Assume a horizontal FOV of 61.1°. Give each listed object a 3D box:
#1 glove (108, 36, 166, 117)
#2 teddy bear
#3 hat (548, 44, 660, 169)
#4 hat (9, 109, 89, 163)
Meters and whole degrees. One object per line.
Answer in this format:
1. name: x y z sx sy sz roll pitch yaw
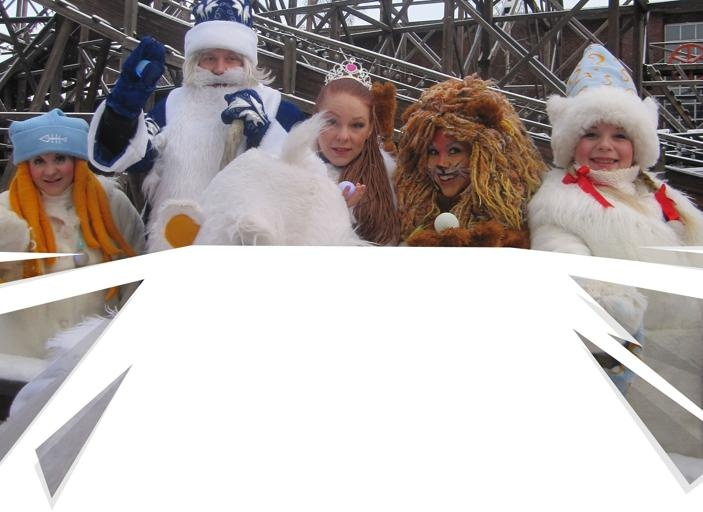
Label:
1. glove: -0.464 -0.389 1.276 0.112 0.171 0.111 -2 18 -26
2. teddy bear: -0.132 -0.112 0.778 0.227 0.201 0.173 -5 6 -18
3. hat: 0.516 -0.317 1.244 0.186 0.126 0.318 2 47 8
4. hat: -0.746 -0.288 1.465 0.173 0.112 0.133 -1 3 0
